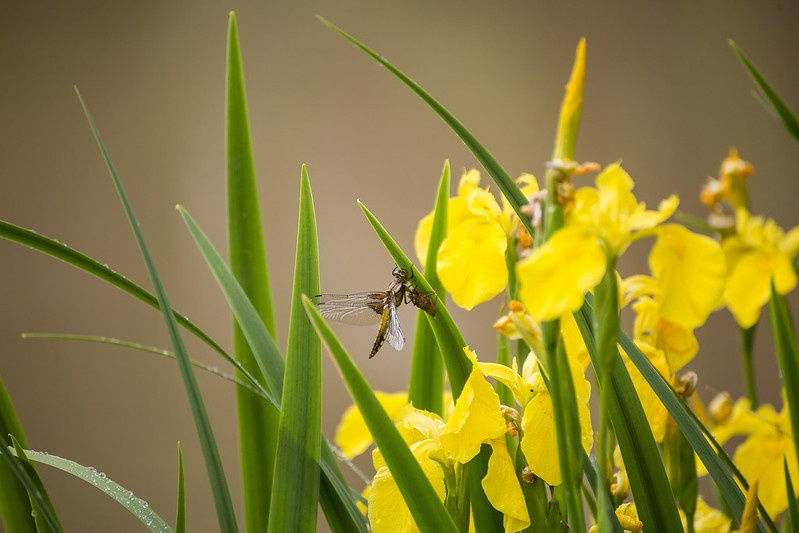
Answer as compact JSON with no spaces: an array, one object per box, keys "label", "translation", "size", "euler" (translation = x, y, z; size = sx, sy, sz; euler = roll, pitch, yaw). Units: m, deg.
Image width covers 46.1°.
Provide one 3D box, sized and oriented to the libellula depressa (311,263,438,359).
[{"label":"libellula depressa","translation":[-0.043,0.100,2.094],"size":[0.238,0.247,0.142],"euler":[-5,-53,21]}]
